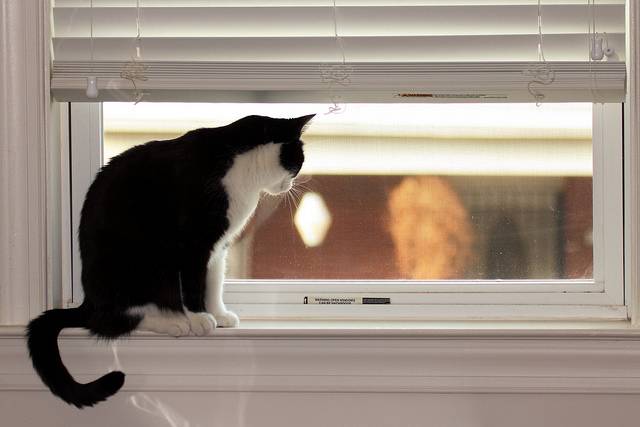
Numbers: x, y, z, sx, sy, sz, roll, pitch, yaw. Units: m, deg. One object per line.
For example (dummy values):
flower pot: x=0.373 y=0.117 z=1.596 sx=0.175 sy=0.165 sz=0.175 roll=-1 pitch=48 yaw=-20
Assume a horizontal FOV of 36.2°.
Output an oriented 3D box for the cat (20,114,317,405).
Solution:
cat: x=-0.421 y=0.057 z=2.668 sx=0.525 sy=0.632 sz=1.009 roll=6 pitch=10 yaw=43
